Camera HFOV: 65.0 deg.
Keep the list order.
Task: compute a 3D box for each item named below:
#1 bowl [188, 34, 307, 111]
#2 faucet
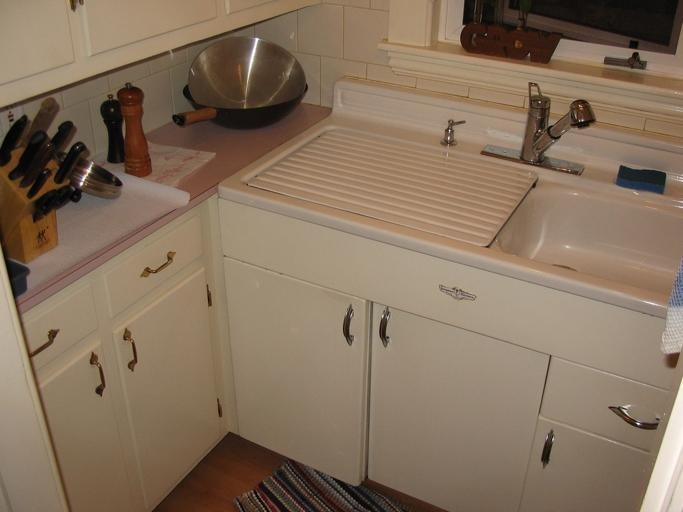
[{"bbox_3d":[-0.564,-0.766,2.372,0.630,0.219,0.627,-2,13,0],"label":"bowl"},{"bbox_3d":[0.682,-0.461,1.873,0.358,0.319,0.107,21,49,31],"label":"faucet"}]
